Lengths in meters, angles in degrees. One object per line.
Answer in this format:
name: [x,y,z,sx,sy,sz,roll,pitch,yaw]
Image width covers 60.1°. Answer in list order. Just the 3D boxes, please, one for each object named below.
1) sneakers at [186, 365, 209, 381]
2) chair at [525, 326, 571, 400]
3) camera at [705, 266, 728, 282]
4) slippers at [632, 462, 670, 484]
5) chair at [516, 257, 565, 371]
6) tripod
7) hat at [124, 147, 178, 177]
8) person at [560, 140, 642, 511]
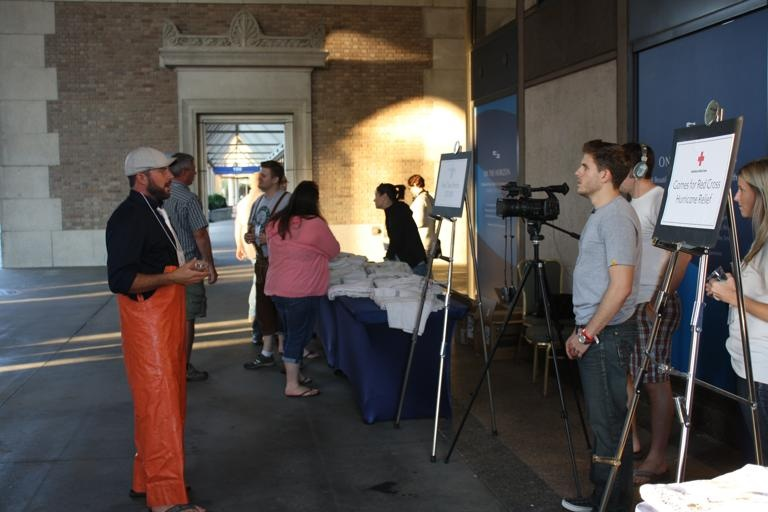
sneakers: [-1.995,1.268,7.184,0.293,0.191,0.103,-1,4,-23]
chair: [1.686,1.026,6.852,0.374,0.440,0.364,-10,-10,0]
camera: [2.299,0.126,4.591,0.075,0.099,0.085,37,-13,14]
slippers: [2.093,1.712,5.231,0.389,0.098,0.171,1,-2,-11]
chair: [1.716,0.674,7.119,0.444,1.296,0.528,1,4,6]
tripod: [1.219,0.803,5.235,1.349,2.075,1.289,-2,6,-9]
hat: [-1.717,-0.710,4.904,0.332,0.206,0.249,-7,15,-19]
person: [1.569,0.549,4.723,0.513,2.649,0.703,3,14,15]
